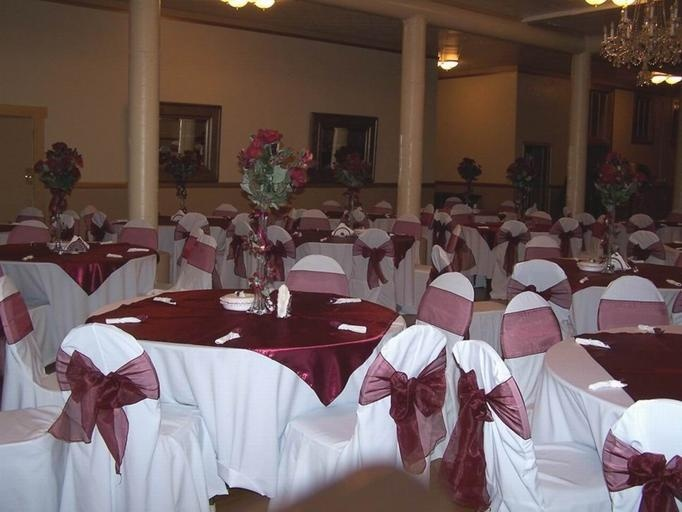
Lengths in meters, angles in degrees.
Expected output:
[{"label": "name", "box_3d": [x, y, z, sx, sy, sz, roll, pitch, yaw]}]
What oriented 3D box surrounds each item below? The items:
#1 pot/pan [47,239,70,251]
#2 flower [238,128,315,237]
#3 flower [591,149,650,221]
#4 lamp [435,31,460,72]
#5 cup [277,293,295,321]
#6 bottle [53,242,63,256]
[{"label": "pot/pan", "box_3d": [-2.667, -0.086, 5.221, 0.140, 0.079, 0.198, 0, -1, 0]}, {"label": "flower", "box_3d": [-0.375, -0.441, 3.241, 0.449, 0.655, 0.513, -5, 17, -20]}, {"label": "flower", "box_3d": [2.440, -0.582, 4.864, 0.361, 0.553, 0.374, -10, 18, -31]}, {"label": "lamp", "box_3d": [2.383, -4.362, 11.652, 0.518, 0.685, 0.482, -4, 17, -8]}, {"label": "cup", "box_3d": [-0.324, 0.299, 3.232, 0.070, 0.157, 0.035, 5, -3, -6]}, {"label": "bottle", "box_3d": [-2.625, -0.062, 5.098, 0.091, 0.119, 0.099, 6, 9, -1]}]
